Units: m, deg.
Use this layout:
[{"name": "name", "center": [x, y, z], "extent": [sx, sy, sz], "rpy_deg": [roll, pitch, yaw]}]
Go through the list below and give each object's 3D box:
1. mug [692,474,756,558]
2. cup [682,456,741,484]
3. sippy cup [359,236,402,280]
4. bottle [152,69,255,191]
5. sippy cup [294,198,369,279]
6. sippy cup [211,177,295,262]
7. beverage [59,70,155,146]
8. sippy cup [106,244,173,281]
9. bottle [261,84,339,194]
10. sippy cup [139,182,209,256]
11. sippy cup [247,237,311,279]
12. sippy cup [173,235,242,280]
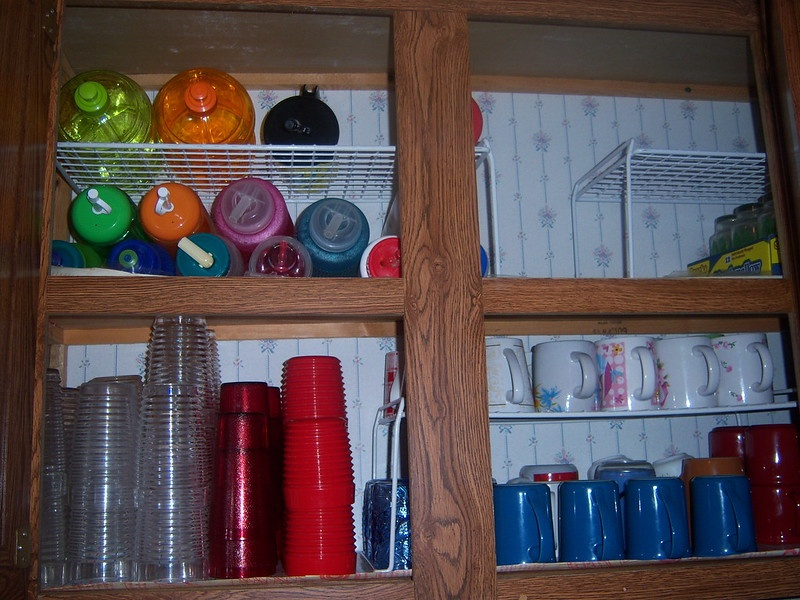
[{"name": "mug", "center": [0.610, 0.406, 1.572], "extent": [0.110, 0.139, 0.164], "rpy_deg": [-4, 1, 3]}, {"name": "cup", "center": [0.605, 0.331, 1.646], "extent": [0.099, 0.080, 0.055], "rpy_deg": [-4, -11, 13]}, {"name": "sippy cup", "center": [-0.041, -0.089, 1.634], "extent": [0.087, 0.077, 0.078], "rpy_deg": [10, 4, -6]}, {"name": "bottle", "center": [-0.399, -0.355, 1.746], "extent": [0.202, 0.188, 0.201], "rpy_deg": [-17, -42, -22]}, {"name": "sippy cup", "center": [-0.136, -0.118, 1.666], "extent": [0.129, 0.116, 0.209], "rpy_deg": [16, -7, -9]}, {"name": "sippy cup", "center": [-0.309, -0.179, 1.698], "extent": [0.104, 0.158, 0.096], "rpy_deg": [-1, -22, -1]}, {"name": "beverage", "center": [-0.584, -0.380, 1.666], "extent": [0.128, 0.120, 0.211], "rpy_deg": [31, -12, -15]}, {"name": "sippy cup", "center": [-0.500, -0.083, 1.623], "extent": [0.073, 0.090, 0.089], "rpy_deg": [30, -5, -13]}, {"name": "bottle", "center": [-0.198, -0.328, 1.722], "extent": [0.171, 0.203, 0.071], "rpy_deg": [0, 6, -9]}, {"name": "sippy cup", "center": [-0.442, -0.155, 1.640], "extent": [0.102, 0.094, 0.168], "rpy_deg": [23, -17, -10]}, {"name": "sippy cup", "center": [-0.229, -0.083, 1.631], "extent": [0.102, 0.090, 0.100], "rpy_deg": [1, -3, 0]}, {"name": "sippy cup", "center": [-0.368, -0.084, 1.605], "extent": [0.059, 0.057, 0.096], "rpy_deg": [28, -5, -7]}]
